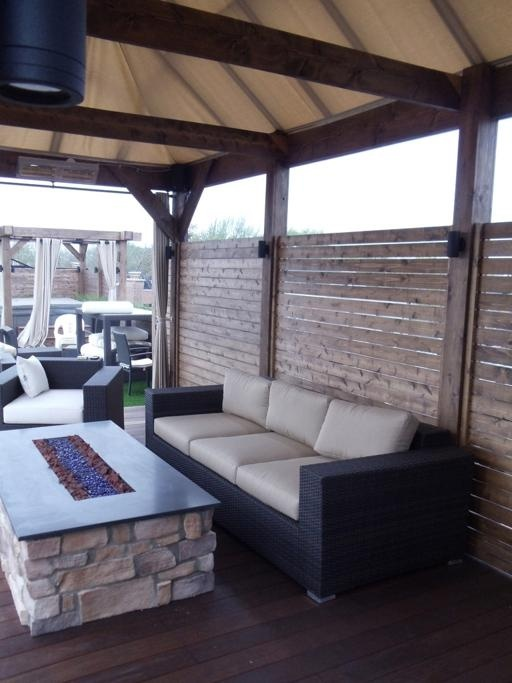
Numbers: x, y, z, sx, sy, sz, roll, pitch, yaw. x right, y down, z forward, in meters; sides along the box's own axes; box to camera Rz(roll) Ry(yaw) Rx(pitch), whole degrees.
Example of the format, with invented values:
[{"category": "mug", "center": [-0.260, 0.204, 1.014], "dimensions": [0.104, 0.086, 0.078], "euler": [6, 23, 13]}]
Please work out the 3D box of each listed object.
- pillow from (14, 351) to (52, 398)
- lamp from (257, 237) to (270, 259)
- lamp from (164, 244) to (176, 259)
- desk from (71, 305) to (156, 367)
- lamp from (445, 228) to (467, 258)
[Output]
[{"category": "pillow", "center": [-2.139, 0.325, 4.919], "dimensions": [0.128, 0.284, 0.353], "euler": [-6, 10, -2]}, {"category": "lamp", "center": [0.067, -0.861, 4.778], "dimensions": [0.114, 0.174, 0.129], "euler": [2, 0, 1]}, {"category": "lamp", "center": [-1.107, -1.187, 6.742], "dimensions": [0.152, 0.191, 0.082], "euler": [2, 0, 25]}, {"category": "desk", "center": [-2.222, -0.413, 8.063], "dimensions": [0.993, 1.041, 1.665], "euler": [-4, 11, -24]}, {"category": "lamp", "center": [1.107, -0.542, 2.852], "dimensions": [0.097, 0.155, 0.059], "euler": [2, 0, 20]}]
